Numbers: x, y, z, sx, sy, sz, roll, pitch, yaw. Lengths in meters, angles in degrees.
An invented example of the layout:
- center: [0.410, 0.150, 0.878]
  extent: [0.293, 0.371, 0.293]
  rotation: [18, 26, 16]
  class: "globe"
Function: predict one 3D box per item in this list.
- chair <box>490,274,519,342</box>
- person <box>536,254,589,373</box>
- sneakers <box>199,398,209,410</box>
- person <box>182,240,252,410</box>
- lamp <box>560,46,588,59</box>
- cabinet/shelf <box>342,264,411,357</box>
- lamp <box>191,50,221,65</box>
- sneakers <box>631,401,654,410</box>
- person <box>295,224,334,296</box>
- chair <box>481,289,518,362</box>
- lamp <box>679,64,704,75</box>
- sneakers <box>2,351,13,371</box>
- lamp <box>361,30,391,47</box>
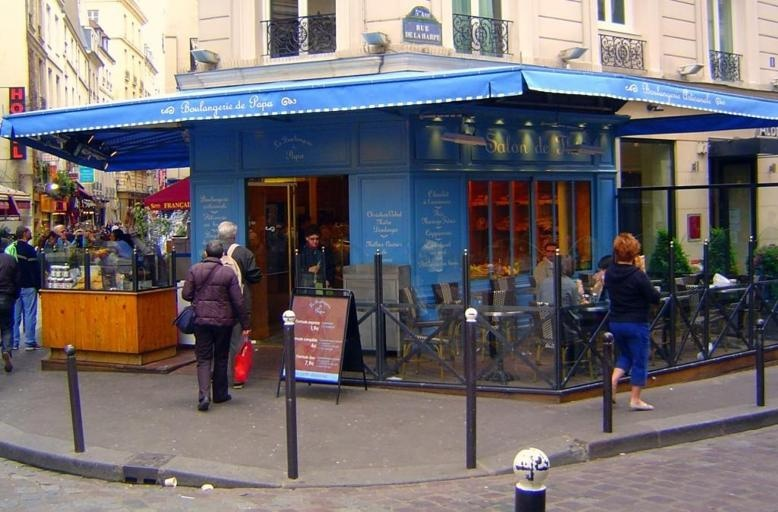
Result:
- center: [1.759, 0.545, 12.321]
  extent: [0.405, 0.719, 0.400]
  rotation: [0, 0, 20]
  class: "chair"
- center: [2.708, 0.796, 12.358]
  extent: [0.816, 1.872, 0.536]
  rotation: [-11, 18, -33]
  class: "person"
- center: [-2.765, 2.184, 12.060]
  extent: [0.165, 0.184, 0.130]
  rotation: [-1, 15, 0]
  class: "sneakers"
- center: [-2.638, 1.045, 12.290]
  extent: [0.934, 2.432, 0.844]
  rotation: [-10, 17, -32]
  class: "person"
- center: [3.699, -4.076, 16.339]
  extent: [0.297, 0.134, 0.379]
  rotation: [-3, 3, -39]
  class: "lamp"
- center: [-0.231, 0.810, 13.314]
  extent: [1.224, 1.243, 1.066]
  rotation: [1, 15, 8]
  class: "cabinet/shelf"
- center: [-3.653, -3.980, 16.191]
  extent: [0.597, 0.300, 0.361]
  rotation: [-10, 17, -32]
  class: "lamp"
- center: [3.718, 2.179, 11.933]
  extent: [0.274, 0.105, 0.140]
  rotation: [-2, 1, -1]
  class: "sneakers"
- center: [-1.281, 0.297, 13.523]
  extent: [0.614, 1.455, 0.605]
  rotation: [1, 1, 18]
  class: "person"
- center: [1.454, 1.045, 12.254]
  extent: [0.802, 1.051, 0.790]
  rotation: [-1, -7, 10]
  class: "chair"
- center: [6.822, -4.195, 18.279]
  extent: [0.429, 0.253, 0.359]
  rotation: [7, 11, 40]
  class: "lamp"
- center: [-6.725, 1.833, 14.236]
  extent: [0.170, 0.435, 0.189]
  rotation: [-7, 6, -21]
  class: "sneakers"
- center: [-0.232, -3.951, 14.778]
  extent: [0.466, 0.243, 0.297]
  rotation: [-1, 15, 0]
  class: "lamp"
